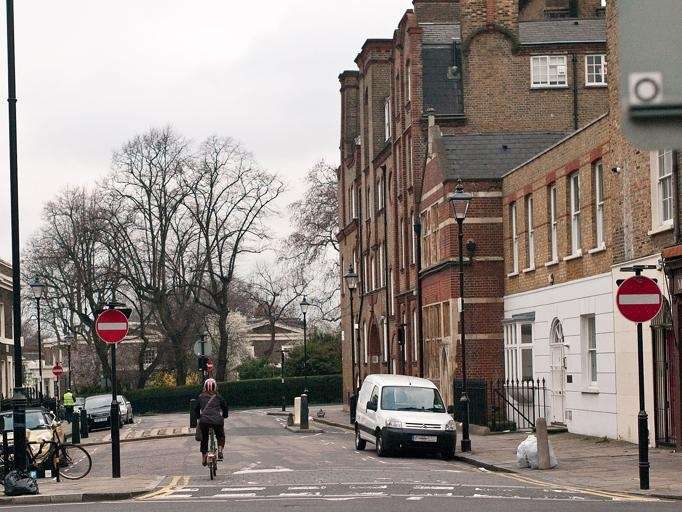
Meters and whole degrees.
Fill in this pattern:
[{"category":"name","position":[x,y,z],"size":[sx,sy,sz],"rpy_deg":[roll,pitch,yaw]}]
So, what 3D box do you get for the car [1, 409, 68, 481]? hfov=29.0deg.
[{"category":"car","position":[-7.895,4.932,33.669],"size":[2.218,1.749,0.641],"rpy_deg":[3,-8,-20]}]
